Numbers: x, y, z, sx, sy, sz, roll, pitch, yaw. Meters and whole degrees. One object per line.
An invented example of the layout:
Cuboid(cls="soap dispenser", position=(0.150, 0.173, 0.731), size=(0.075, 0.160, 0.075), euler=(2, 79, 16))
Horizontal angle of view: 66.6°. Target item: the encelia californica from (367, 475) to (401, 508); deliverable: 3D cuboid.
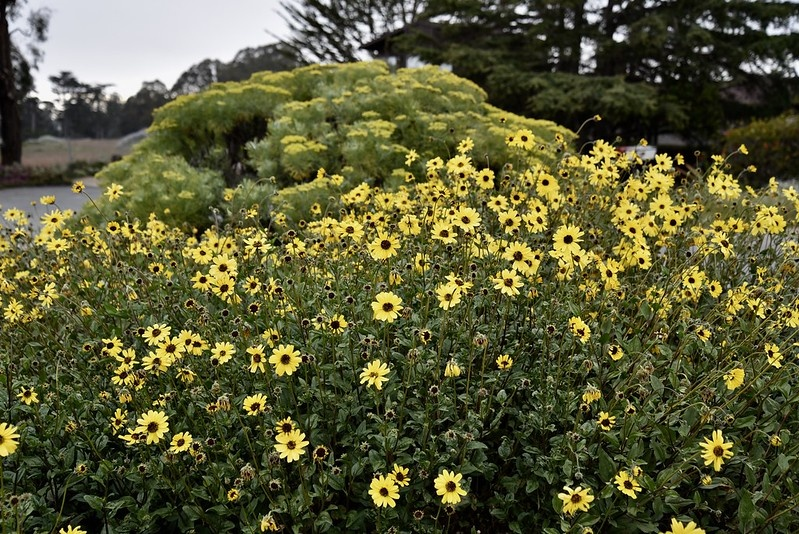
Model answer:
Cuboid(cls="encelia californica", position=(-0.097, 1.368, 3.738), size=(0.184, 0.176, 0.120), euler=(-3, -1, -3))

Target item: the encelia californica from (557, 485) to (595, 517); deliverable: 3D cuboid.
Cuboid(cls="encelia californica", position=(1.086, 1.437, 3.740), size=(0.205, 0.203, 0.299), euler=(-3, -1, 15))

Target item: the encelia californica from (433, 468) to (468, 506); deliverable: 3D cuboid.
Cuboid(cls="encelia californica", position=(0.312, 1.376, 3.792), size=(0.184, 0.222, 0.274), euler=(-3, -1, 2))
